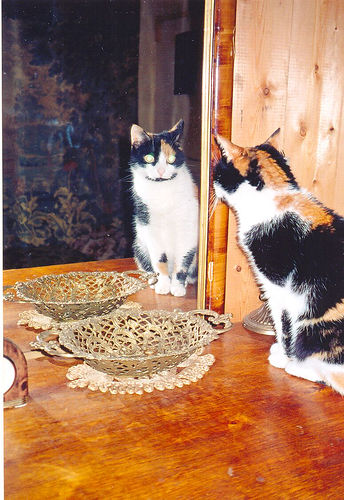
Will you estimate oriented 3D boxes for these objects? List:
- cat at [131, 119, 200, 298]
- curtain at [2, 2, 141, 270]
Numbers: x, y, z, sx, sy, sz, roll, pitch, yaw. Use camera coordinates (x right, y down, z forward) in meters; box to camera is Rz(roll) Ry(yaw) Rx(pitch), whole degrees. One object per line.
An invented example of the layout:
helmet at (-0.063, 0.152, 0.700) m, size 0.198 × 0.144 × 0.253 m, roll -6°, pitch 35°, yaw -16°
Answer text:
cat at (-0.023, -0.103, 1.338) m, size 0.078 × 0.506 × 0.247 m, roll 11°, pitch 13°, yaw 44°
curtain at (-0.247, -0.241, 1.116) m, size 0.438 × 0.592 × 0.018 m, roll -9°, pitch 18°, yaw -31°
